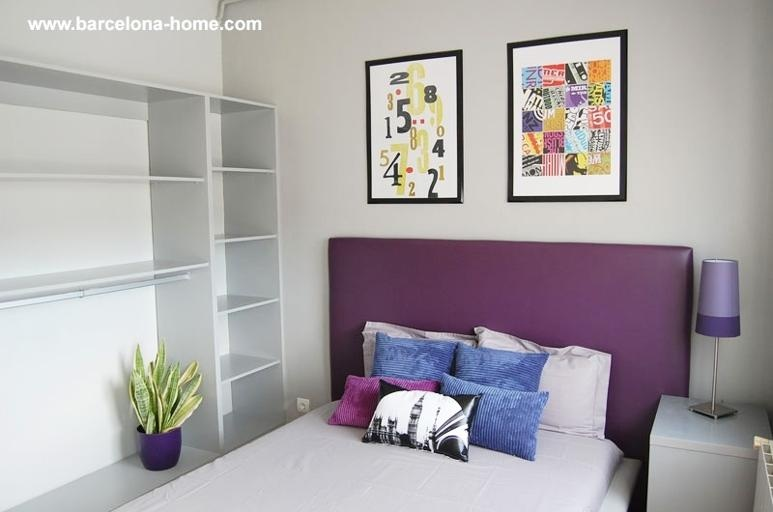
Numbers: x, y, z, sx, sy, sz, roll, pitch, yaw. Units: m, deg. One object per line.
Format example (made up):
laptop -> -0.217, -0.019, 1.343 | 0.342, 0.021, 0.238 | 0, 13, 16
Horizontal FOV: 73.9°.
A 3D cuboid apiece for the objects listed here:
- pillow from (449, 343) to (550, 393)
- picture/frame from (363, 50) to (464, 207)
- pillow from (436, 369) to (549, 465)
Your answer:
pillow -> 0.694, 0.688, 3.143 | 0.390, 0.272, 0.119 | 4, -20, 25
picture/frame -> 0.194, -0.885, 3.621 | 0.690, 1.007, 0.288 | 0, 14, 11
pillow -> 0.604, 0.935, 2.976 | 0.586, 0.346, 0.203 | 3, 14, 23
